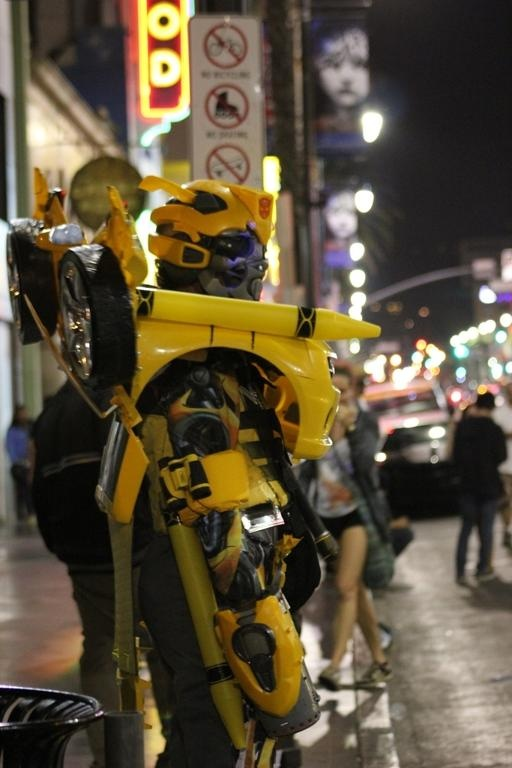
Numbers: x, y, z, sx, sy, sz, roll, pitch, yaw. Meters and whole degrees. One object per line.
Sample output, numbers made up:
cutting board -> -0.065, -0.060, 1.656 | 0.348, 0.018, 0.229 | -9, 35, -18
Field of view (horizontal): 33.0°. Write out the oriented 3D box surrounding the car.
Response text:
car -> 2.283, 0.915, 12.415 | 1.399, 1.229, 2.466 | -2, -9, -3

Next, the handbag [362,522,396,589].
handbag -> 0.688, 0.966, 4.837 | 0.275, 0.321, 0.185 | -9, -10, 8
